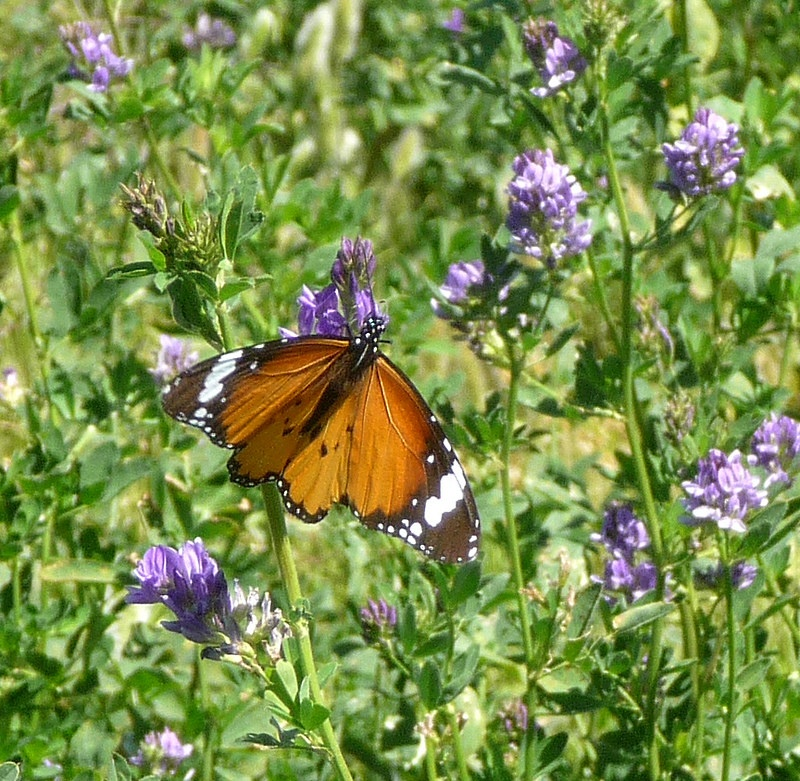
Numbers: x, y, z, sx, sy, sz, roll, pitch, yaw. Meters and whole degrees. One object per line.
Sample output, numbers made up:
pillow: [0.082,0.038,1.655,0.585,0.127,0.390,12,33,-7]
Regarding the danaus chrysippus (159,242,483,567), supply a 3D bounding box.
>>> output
danaus chrysippus: [-0.091,-0.057,2.542,0.729,0.208,0.501,33,93,-13]
